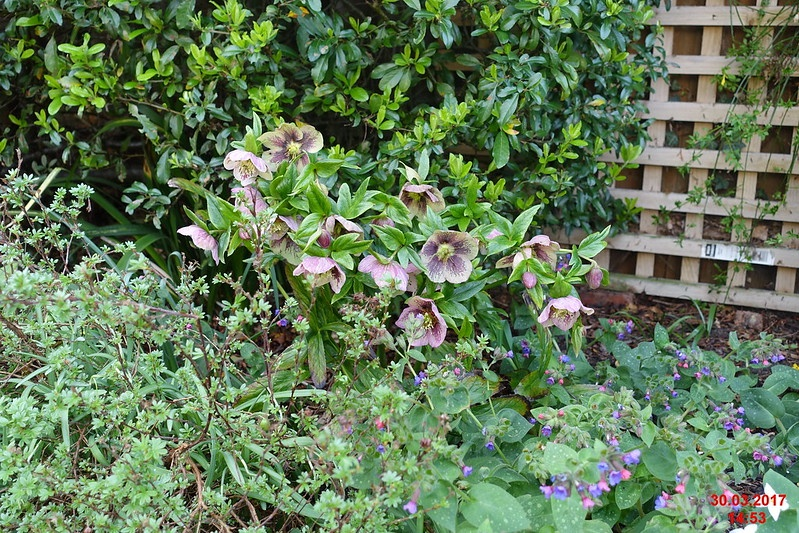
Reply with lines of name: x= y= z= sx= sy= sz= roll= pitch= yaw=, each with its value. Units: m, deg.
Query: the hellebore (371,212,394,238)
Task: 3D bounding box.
hellebore: x=-0.052 y=-0.161 z=2.724 sx=0.078 sy=0.088 sz=0.081 roll=12 pitch=19 yaw=42

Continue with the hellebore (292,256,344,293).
hellebore: x=-0.287 y=0.048 z=2.577 sx=0.172 sy=0.165 sz=0.105 roll=-18 pitch=34 yaw=-30

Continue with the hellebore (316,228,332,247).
hellebore: x=-0.271 y=-0.101 z=2.582 sx=0.048 sy=0.061 sz=0.035 roll=-10 pitch=-3 yaw=-19

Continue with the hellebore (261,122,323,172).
hellebore: x=-0.424 y=-0.463 z=2.804 sx=0.208 sy=0.182 sz=0.204 roll=25 pitch=37 yaw=36

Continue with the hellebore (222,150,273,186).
hellebore: x=-0.570 y=-0.405 z=2.720 sx=0.159 sy=0.074 sz=0.148 roll=28 pitch=51 yaw=15

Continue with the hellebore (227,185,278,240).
hellebore: x=-0.531 y=-0.184 z=2.618 sx=0.151 sy=0.201 sz=0.305 roll=-6 pitch=31 yaw=-13
